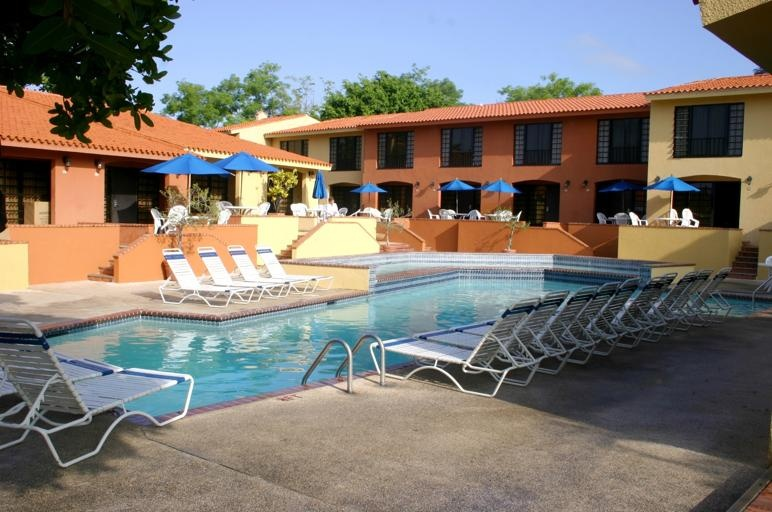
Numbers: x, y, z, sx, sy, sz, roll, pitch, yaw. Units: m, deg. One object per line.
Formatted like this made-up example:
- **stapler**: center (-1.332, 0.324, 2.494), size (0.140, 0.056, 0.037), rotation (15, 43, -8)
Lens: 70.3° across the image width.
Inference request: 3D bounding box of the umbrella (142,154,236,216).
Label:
- **umbrella**: center (-5.964, -2.089, 17.017), size (2.551, 1.434, 2.488), rotation (-2, 3, -42)

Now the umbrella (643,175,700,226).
- **umbrella**: center (11.311, -2.246, 22.213), size (2.329, 1.320, 2.273), rotation (-5, 5, -42)

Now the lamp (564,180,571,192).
- **lamp**: center (8.773, -3.462, 26.743), size (0.353, 0.550, 0.143), rotation (3, 8, 14)

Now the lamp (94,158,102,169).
- **lamp**: center (-8.517, -2.746, 16.327), size (0.221, 0.333, 0.137), rotation (-3, 8, -27)

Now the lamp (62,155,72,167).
- **lamp**: center (-9.076, -2.740, 15.732), size (0.144, 0.342, 0.261), rotation (4, 7, 21)

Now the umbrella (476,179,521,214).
- **umbrella**: center (5.413, -3.271, 26.332), size (2.087, 1.251, 1.798), rotation (0, 2, -4)

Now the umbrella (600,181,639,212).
- **umbrella**: center (10.728, -2.779, 25.525), size (1.778, 1.039, 1.741), rotation (0, 9, 28)

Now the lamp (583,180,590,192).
- **lamp**: center (9.581, -3.414, 26.341), size (0.314, 0.468, 0.231), rotation (4, 7, 21)

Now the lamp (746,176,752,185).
- **lamp**: center (14.078, -2.977, 21.385), size (0.177, 0.302, 0.124), rotation (2, -39, 19)
